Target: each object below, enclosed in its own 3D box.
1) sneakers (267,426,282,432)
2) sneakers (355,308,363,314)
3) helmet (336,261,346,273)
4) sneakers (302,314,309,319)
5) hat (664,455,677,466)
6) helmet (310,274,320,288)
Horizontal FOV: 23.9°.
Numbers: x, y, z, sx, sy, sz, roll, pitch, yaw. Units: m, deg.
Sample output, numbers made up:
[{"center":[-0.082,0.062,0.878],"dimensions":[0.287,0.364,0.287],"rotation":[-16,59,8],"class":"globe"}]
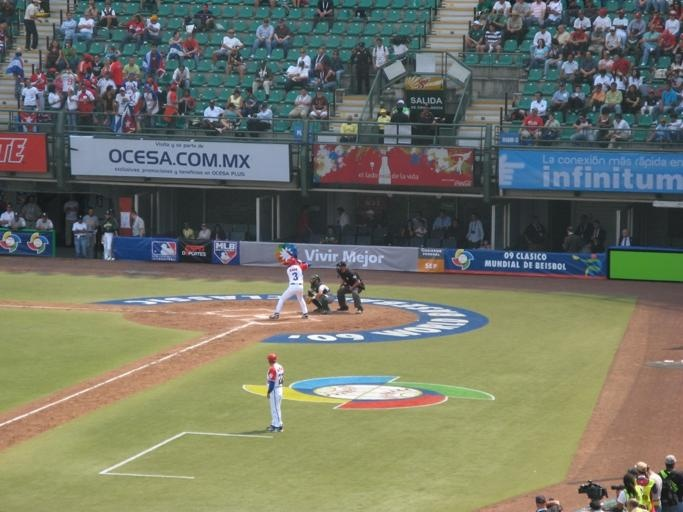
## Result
[{"center":[-1.954,5.175,48.106],"dimensions":[0.450,0.167,0.145],"rotation":[2,4,4],"class":"sneakers"},{"center":[0.669,2.047,59.216],"dimensions":[0.184,0.193,0.455],"rotation":[-1,-7,5],"class":"sneakers"},{"center":[0.040,0.456,58.174],"dimensions":[0.320,0.359,0.454],"rotation":[2,4,7],"class":"helmet"},{"center":[-1.270,2.212,58.229],"dimensions":[0.206,0.183,0.119],"rotation":[-3,14,-20],"class":"sneakers"},{"center":[8.997,5.608,44.094],"dimensions":[0.352,0.178,0.489],"rotation":[2,13,4],"class":"hat"},{"center":[-0.921,0.906,58.499],"dimensions":[0.333,0.403,0.428],"rotation":[17,35,32],"class":"helmet"}]
